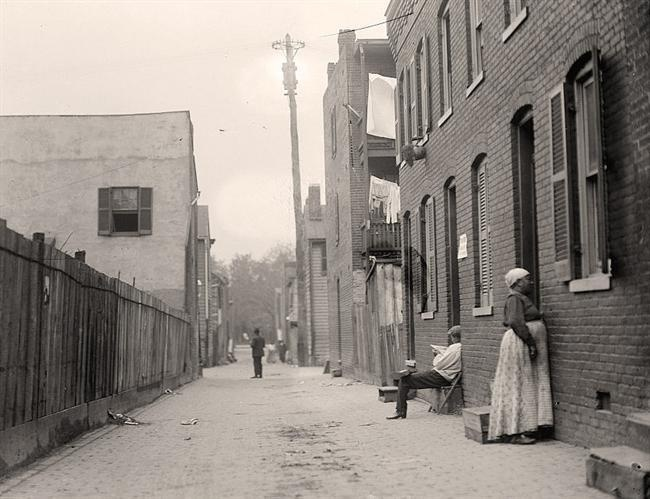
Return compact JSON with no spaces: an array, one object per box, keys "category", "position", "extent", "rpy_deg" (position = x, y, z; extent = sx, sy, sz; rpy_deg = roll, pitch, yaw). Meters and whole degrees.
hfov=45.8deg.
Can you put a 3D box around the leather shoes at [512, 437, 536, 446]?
[{"category":"leather shoes","position":[2.563,2.441,9.874],"extent":[0.240,0.112,0.112],"rpy_deg":[-2,1,2]}]

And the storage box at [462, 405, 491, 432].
[{"category":"storage box","position":[2.072,2.283,10.348],"extent":[0.279,0.145,0.293],"rpy_deg":[-1,-2,-22]}]

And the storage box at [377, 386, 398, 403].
[{"category":"storage box","position":[1.353,3.153,16.327],"extent":[0.321,0.250,0.517],"rpy_deg":[2,-7,-15]}]

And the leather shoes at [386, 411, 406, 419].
[{"category":"leather shoes","position":[1.209,2.812,13.041],"extent":[0.343,0.168,0.137],"rpy_deg":[3,-7,2]}]

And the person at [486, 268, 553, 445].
[{"category":"person","position":[2.518,1.369,10.014],"extent":[0.825,2.264,0.435],"rpy_deg":[-3,-8,19]}]

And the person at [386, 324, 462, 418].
[{"category":"person","position":[1.809,2.103,13.276],"extent":[1.530,1.587,0.700],"rpy_deg":[6,-11,-40]}]

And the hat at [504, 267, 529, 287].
[{"category":"hat","position":[2.566,0.345,10.308],"extent":[0.274,0.194,0.218],"rpy_deg":[-19,11,-7]}]

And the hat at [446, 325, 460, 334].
[{"category":"hat","position":[2.312,1.429,13.669],"extent":[0.124,0.108,0.163],"rpy_deg":[-6,-4,-17]}]
